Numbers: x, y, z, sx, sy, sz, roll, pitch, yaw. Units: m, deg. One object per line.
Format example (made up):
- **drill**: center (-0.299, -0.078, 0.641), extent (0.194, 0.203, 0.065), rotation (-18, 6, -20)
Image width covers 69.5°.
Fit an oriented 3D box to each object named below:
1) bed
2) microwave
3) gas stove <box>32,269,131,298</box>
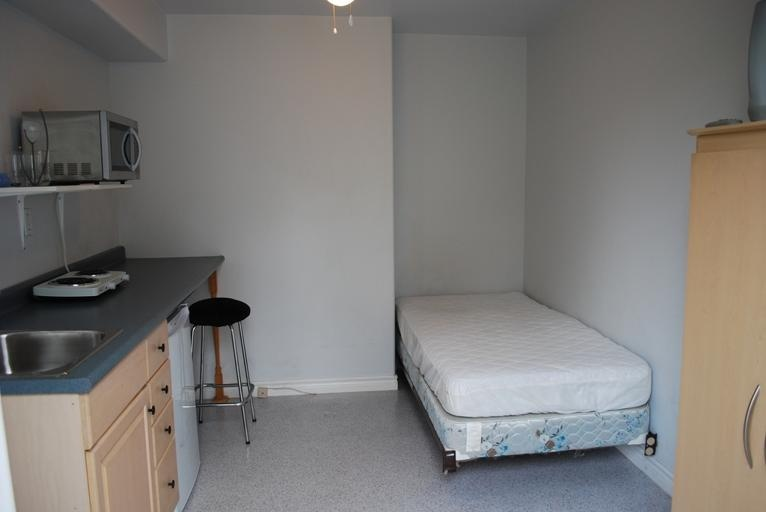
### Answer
- **bed**: center (0.932, 0.889, 4.091), extent (1.368, 0.668, 1.574), rotation (-3, 13, -10)
- **microwave**: center (-1.811, -0.649, 3.462), extent (0.427, 0.377, 0.580), rotation (-3, 9, -2)
- **gas stove**: center (-1.772, 0.151, 3.347), extent (0.381, 0.086, 0.509), rotation (0, 13, 5)
